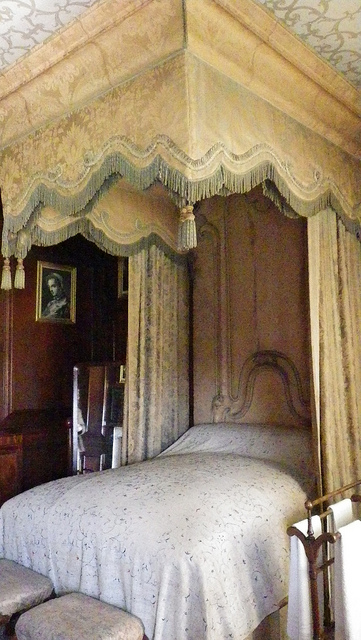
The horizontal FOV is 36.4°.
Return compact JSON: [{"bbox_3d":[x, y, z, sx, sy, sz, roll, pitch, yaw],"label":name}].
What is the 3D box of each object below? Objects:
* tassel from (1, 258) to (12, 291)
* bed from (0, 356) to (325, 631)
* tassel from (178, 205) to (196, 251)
[{"bbox_3d":[-0.917,-0.243,2.910,0.038,0.164,0.349,-2,2,-16],"label":"tassel"},{"bbox_3d":[0.098,0.592,2.876,1.016,1.054,1.400,-3,-7,37],"label":"bed"},{"bbox_3d":[0.023,-0.345,2.035,0.058,0.139,0.137,-2,1,0],"label":"tassel"}]
